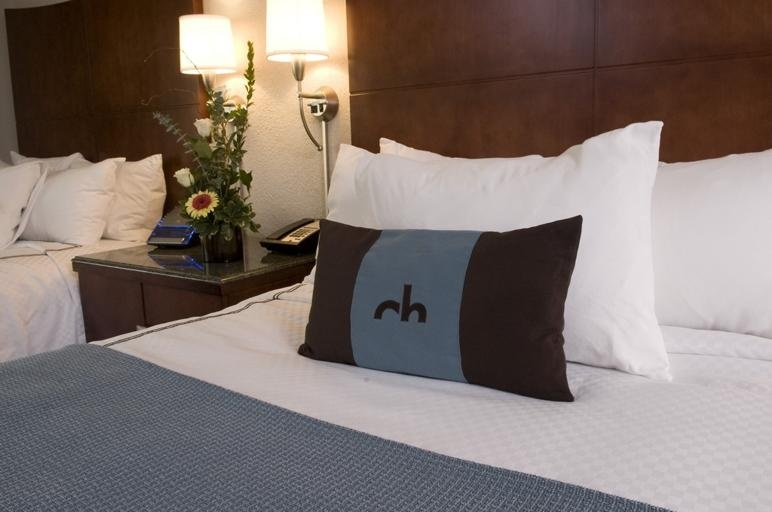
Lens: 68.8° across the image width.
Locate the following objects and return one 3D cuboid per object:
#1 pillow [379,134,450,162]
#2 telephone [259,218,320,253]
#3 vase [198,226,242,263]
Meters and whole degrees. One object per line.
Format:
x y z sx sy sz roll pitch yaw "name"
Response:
0.128 -0.445 2.320 0.165 0.053 0.170 2 30 -5 "pillow"
-0.447 -0.143 2.683 0.216 0.103 0.238 0 26 44 "telephone"
-0.751 -0.062 2.619 0.162 0.168 0.158 3 8 21 "vase"
